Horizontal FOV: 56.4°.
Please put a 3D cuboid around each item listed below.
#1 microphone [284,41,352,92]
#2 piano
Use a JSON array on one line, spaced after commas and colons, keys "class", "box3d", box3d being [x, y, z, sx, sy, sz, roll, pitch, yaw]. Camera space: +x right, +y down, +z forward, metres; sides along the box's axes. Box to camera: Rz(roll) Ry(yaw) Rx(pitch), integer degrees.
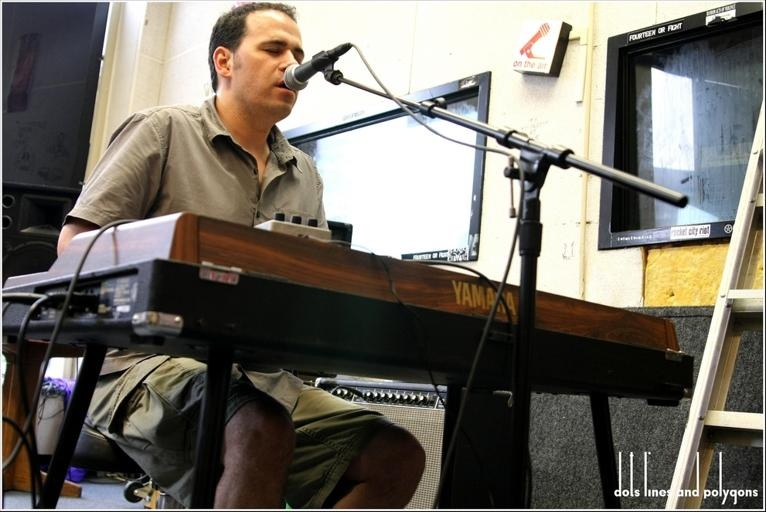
[{"class": "microphone", "box3d": [-0.183, -0.539, 2.072, 0.268, 0.077, 0.075, -11, 12, 45]}, {"class": "piano", "box3d": [-0.020, 0.157, 1.912, 1.683, 0.369, 0.398, 6, -6, -20]}]
